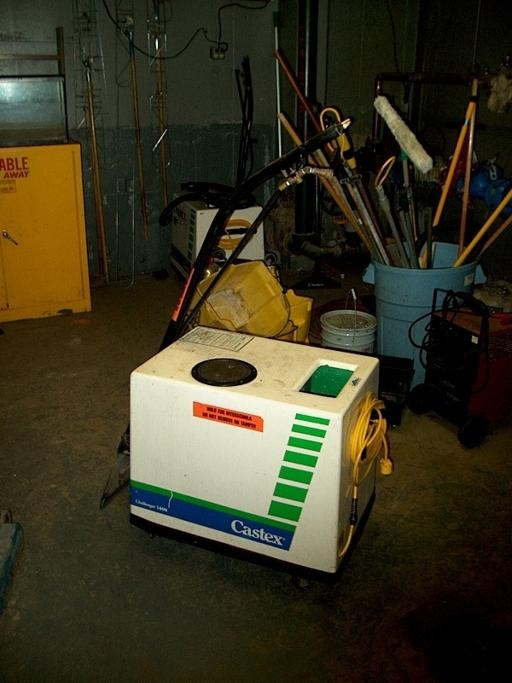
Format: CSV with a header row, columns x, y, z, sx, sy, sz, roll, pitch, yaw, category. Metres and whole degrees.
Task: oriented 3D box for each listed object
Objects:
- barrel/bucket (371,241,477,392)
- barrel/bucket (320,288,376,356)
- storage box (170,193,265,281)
x,y,z,sx,sy,sz,roll,pitch,yaw,category
0.914,-0.214,3.086,0.674,0.791,0.496,-2,41,11,barrel/bucket
0.523,-0.045,2.931,0.272,0.403,0.286,0,9,0,barrel/bucket
-0.362,-0.852,4.573,0.565,0.633,0.965,-8,20,-17,storage box
